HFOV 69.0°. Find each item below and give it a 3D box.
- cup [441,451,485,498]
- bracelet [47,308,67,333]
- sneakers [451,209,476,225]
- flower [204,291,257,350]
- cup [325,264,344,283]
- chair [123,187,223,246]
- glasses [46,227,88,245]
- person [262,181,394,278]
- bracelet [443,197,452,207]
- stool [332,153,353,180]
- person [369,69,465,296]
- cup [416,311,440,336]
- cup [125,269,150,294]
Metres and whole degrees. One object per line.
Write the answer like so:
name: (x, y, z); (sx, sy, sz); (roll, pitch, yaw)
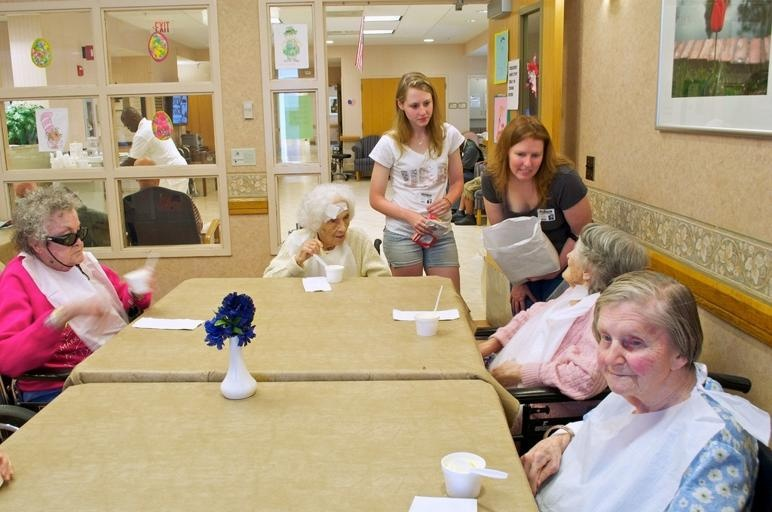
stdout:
cup: (0.233, 0.668, 1.717); (0.129, 0.098, 0.120); (-1, 14, 0)
bracelet: (-1.493, 0.291, 2.560); (0.092, 0.086, 0.091); (2, 2, -22)
sneakers: (1.285, -0.633, 9.422); (0.542, 0.225, 0.180); (2, 5, 3)
flower: (-0.574, 0.240, 2.090); (0.161, 0.207, 0.151); (0, 15, 5)
cup: (-0.311, 0.108, 3.334); (0.102, 0.075, 0.100); (-1, 1, 0)
chair: (-1.933, -0.327, 5.219); (0.693, 0.660, 0.538); (1, 20, 2)
glasses: (-1.589, -0.091, 2.815); (0.112, 0.036, 0.098); (1, 17, 11)
person: (-0.374, -0.138, 3.497); (0.773, 0.602, 0.309); (-5, 15, -12)
bracelet: (0.425, -0.366, 3.855); (0.046, 0.074, 0.182); (2, 14, 14)
stool: (-1.221, -2.562, 15.906); (0.603, 0.730, 1.532); (-3, 14, -4)
person: (0.271, -0.163, 3.940); (0.664, 2.087, 0.653); (-7, 22, -9)
cup: (0.186, 0.317, 2.642); (0.106, 0.075, 0.104); (0, 5, 0)
cup: (-1.341, 0.142, 3.058); (0.134, 0.124, 0.131); (-2, -4, 0)
